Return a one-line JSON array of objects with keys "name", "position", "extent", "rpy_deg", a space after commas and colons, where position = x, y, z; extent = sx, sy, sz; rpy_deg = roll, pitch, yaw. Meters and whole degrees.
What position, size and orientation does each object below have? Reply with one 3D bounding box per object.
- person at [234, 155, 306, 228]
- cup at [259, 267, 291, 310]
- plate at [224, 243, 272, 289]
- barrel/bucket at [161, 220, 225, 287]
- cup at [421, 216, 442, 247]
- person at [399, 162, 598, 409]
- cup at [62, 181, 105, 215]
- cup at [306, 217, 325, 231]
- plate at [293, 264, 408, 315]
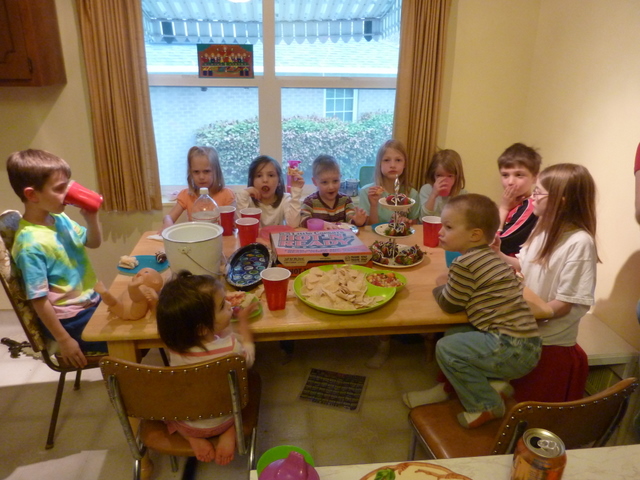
[{"name": "person", "position": [-0.327, -0.143, 3.218], "extent": [0.429, 0.838, 0.276], "rpy_deg": [4, 29, 2]}, {"name": "cup", "position": [-0.186, 0.206, 2.161], "extent": [0.159, 0.183, 0.164], "rpy_deg": [-3, 14, 1]}, {"name": "plate", "position": [-0.354, 0.120, 2.357], "extent": [0.198, 0.046, 0.316], "rpy_deg": [5, 36, 6]}, {"name": "barrel/bucket", "position": [-0.587, 0.034, 2.241], "extent": [0.247, 0.198, 0.256], "rpy_deg": [0, 20, 0]}, {"name": "cup", "position": [0.635, -0.043, 2.691], "extent": [0.118, 0.141, 0.128], "rpy_deg": [1, 13, 0]}, {"name": "person", "position": [0.958, 0.277, 2.559], "extent": [0.869, 1.364, 0.590], "rpy_deg": [6, 5, 35]}, {"name": "cup", "position": [-1.139, -0.200, 2.301], "extent": [0.158, 0.158, 0.139], "rpy_deg": [-13, 24, -29]}, {"name": "cup", "position": [-0.016, -0.101, 2.747], "extent": [0.071, 0.056, 0.073], "rpy_deg": [2, 28, -1]}, {"name": "plate", "position": [0.124, 0.227, 2.168], "extent": [0.284, 0.040, 0.296], "rpy_deg": [4, 24, 14]}]
